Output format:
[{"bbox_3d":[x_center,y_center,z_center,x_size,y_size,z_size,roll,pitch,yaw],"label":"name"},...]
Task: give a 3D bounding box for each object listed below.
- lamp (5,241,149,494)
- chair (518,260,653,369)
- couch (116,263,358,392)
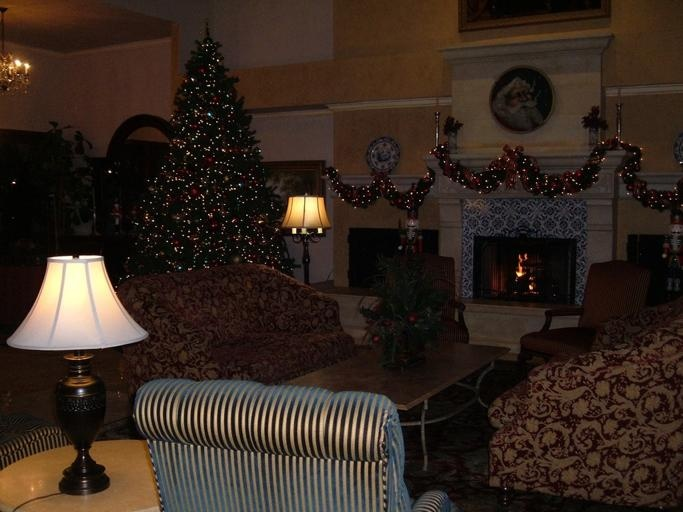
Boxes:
[{"bbox_3d":[-1.216,0.548,3.090,0.593,1.095,0.369,-3,4,-28],"label":"lamp"},{"bbox_3d":[2.134,0.639,5.758,0.911,1.250,0.786,1,7,-24],"label":"chair"},{"bbox_3d":[-0.916,0.575,5.534,1.171,0.877,1.603,-5,-3,36],"label":"couch"}]
